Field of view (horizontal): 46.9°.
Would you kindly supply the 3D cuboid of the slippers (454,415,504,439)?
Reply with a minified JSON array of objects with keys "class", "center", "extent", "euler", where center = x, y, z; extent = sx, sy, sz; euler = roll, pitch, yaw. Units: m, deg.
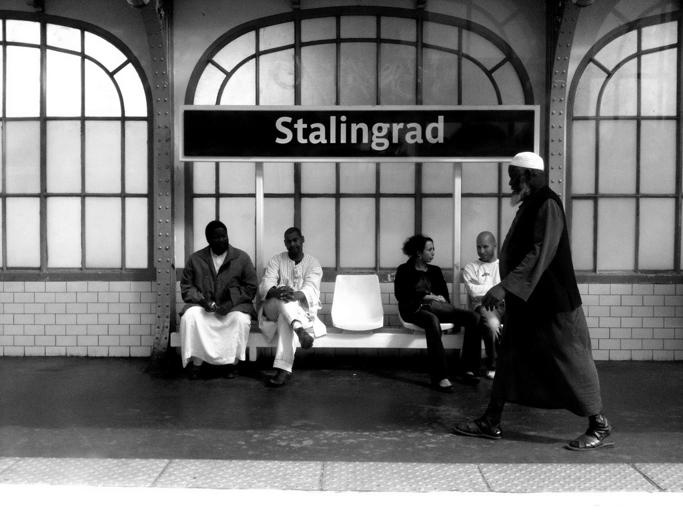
[{"class":"slippers","center":[1.237,1.552,7.189],"extent":[0.482,0.202,0.174],"euler":[5,0,16]}]

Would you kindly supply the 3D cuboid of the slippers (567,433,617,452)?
[{"class":"slippers","center":[2.189,1.622,6.906],"extent":[0.350,0.123,0.180],"euler":[1,-7,-5]}]

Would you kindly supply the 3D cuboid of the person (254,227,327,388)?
[{"class":"person","center":[-0.589,0.537,8.974],"extent":[0.770,1.648,1.079],"euler":[-2,8,-7]}]

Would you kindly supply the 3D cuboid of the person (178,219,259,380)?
[{"class":"person","center":[-1.413,0.607,9.034],"extent":[0.866,1.397,0.640],"euler":[-2,8,-6]}]

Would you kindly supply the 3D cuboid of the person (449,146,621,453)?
[{"class":"person","center":[1.721,0.362,7.147],"extent":[1.341,2.579,1.112],"euler":[1,-6,15]}]

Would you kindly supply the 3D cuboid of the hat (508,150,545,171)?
[{"class":"hat","center":[1.680,-0.836,7.115],"extent":[0.262,0.149,0.263],"euler":[7,0,3]}]
